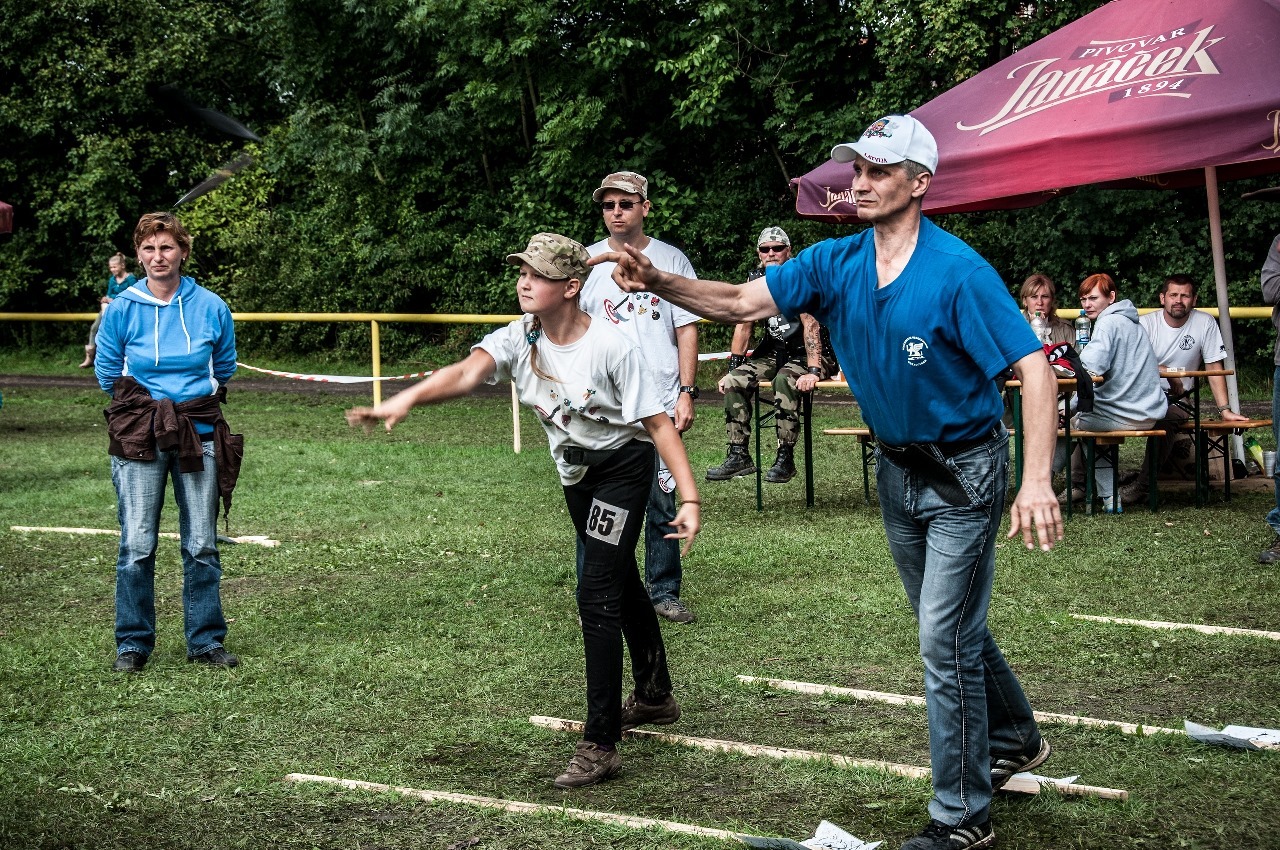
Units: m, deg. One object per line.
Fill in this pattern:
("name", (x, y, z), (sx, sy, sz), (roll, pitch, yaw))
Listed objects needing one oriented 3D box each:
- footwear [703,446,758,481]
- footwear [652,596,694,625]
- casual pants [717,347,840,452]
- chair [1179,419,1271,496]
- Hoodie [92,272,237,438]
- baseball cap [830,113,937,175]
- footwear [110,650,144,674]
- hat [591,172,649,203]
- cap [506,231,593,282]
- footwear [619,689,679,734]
("footwear", (0.747, 0.352, 13.321), (0.596, 0.351, 0.213), (-3, 3, -10))
("footwear", (0.242, 1.287, 10.037), (0.345, 0.132, 0.126), (5, 13, 31))
("casual pants", (1.113, -0.273, 13.183), (0.860, 1.061, 0.948), (-1, -4, 33))
("chair", (5.147, 0.250, 12.944), (0.822, 0.690, 0.773), (-5, 7, -15))
("Hoodie", (-3.180, -0.521, 9.710), (0.917, 0.890, 0.548), (-3, 22, -23))
("baseball cap", (1.295, -1.470, 7.514), (0.481, 0.252, 0.319), (15, 11, -10))
("footwear", (-3.306, 1.529, 9.319), (0.203, 0.096, 0.169), (-6, 16, -16))
("hat", (-0.082, -1.625, 9.697), (0.225, 0.092, 0.306), (-1, 0, 38))
("cap", (-0.505, -0.940, 8.066), (0.371, 0.169, 0.275), (12, -1, -32))
("footwear", (0.050, 1.695, 8.464), (0.413, 0.167, 0.142), (0, 1, -4))
